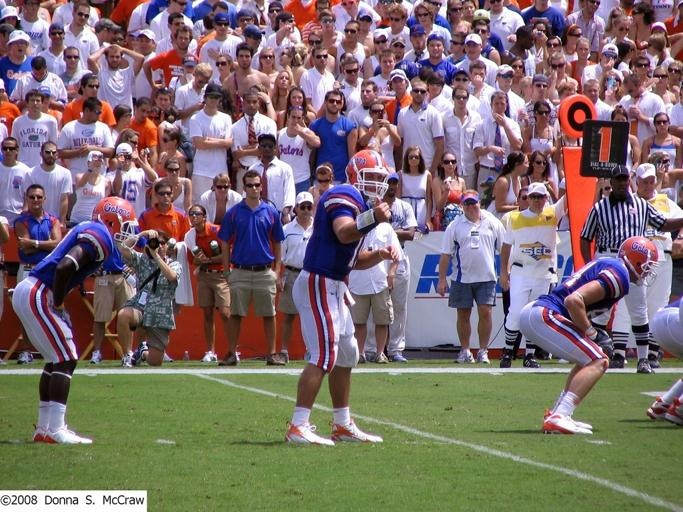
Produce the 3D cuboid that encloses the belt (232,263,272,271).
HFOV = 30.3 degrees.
[{"bbox_3d":[-1.311,0.170,18.543,0.540,0.114,0.152,2,-1,-14],"label":"belt"}]

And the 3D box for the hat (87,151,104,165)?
[{"bbox_3d":[-3.794,-1.514,19.470,0.186,0.253,0.255,0,-9,-19],"label":"hat"}]

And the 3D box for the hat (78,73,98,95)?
[{"bbox_3d":[-4.045,-2.787,20.395,0.260,0.377,0.375,-2,2,-29],"label":"hat"}]

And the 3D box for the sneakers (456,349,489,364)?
[{"bbox_3d":[1.973,1.511,18.888,0.363,0.186,0.238,2,-3,-4],"label":"sneakers"}]

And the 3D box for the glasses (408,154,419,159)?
[{"bbox_3d":[1.123,-1.531,19.591,0.145,0.061,0.047,1,-1,3],"label":"glasses"}]

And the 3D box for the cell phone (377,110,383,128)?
[{"bbox_3d":[0.621,-2.146,19.773,0.046,0.208,0.110,23,-25,-26],"label":"cell phone"}]

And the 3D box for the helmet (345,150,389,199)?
[{"bbox_3d":[0.324,-0.883,13.442,0.368,0.449,0.494,4,11,-40],"label":"helmet"}]

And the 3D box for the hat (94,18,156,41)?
[{"bbox_3d":[-3.967,-3.988,22.672,0.887,0.371,0.552,5,-8,-30],"label":"hat"}]

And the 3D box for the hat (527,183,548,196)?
[{"bbox_3d":[2.881,-0.980,18.523,0.285,0.201,0.404,1,-1,8],"label":"hat"}]

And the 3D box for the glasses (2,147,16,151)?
[{"bbox_3d":[-5.124,-1.643,19.364,0.261,0.066,0.182,1,-1,11],"label":"glasses"}]

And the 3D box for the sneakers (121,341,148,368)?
[{"bbox_3d":[-3.002,1.450,18.315,0.192,0.292,0.604,17,7,-6],"label":"sneakers"}]

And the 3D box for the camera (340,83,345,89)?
[{"bbox_3d":[0.022,-2.799,20.757,0.073,0.040,0.106,-2,0,0],"label":"camera"}]

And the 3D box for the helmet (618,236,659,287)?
[{"bbox_3d":[3.433,0.017,14.501,0.454,0.491,0.384,20,10,-11],"label":"helmet"}]

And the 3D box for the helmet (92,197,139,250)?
[{"bbox_3d":[-2.520,-0.361,14.157,0.517,0.525,0.405,4,16,-12],"label":"helmet"}]

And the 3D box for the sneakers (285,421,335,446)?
[{"bbox_3d":[-0.295,1.866,13.244,0.572,0.285,0.216,4,-3,-9],"label":"sneakers"}]

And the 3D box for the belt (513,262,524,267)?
[{"bbox_3d":[2.581,0.126,18.411,0.079,0.081,0.023,7,-13,30],"label":"belt"}]

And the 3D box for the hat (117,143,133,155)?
[{"bbox_3d":[-3.386,-1.669,19.720,0.260,0.201,0.253,2,-1,-12],"label":"hat"}]

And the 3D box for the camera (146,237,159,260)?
[{"bbox_3d":[-2.718,-0.134,18.236,0.115,0.172,0.285,-32,-3,2],"label":"camera"}]

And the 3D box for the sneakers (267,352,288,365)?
[{"bbox_3d":[-0.938,1.527,18.616,0.358,0.176,0.127,-1,3,-1],"label":"sneakers"}]

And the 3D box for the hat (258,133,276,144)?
[{"bbox_3d":[-1.150,-1.791,19.236,0.282,0.150,0.238,1,-1,11],"label":"hat"}]

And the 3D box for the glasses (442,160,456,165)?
[{"bbox_3d":[1.679,-1.456,19.614,0.177,0.075,0.080,1,-1,5],"label":"glasses"}]

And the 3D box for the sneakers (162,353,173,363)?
[{"bbox_3d":[-2.657,1.554,19.249,0.220,0.172,0.075,0,4,-35],"label":"sneakers"}]

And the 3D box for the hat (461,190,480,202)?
[{"bbox_3d":[1.913,-0.872,18.641,0.247,0.190,0.362,1,-1,5],"label":"hat"}]

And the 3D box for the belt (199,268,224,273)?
[{"bbox_3d":[-1.959,0.216,18.949,0.341,0.058,0.065,2,-1,-6],"label":"belt"}]

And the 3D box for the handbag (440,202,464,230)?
[{"bbox_3d":[1.682,-0.601,19.666,0.424,0.632,0.328,0,-3,-4],"label":"handbag"}]

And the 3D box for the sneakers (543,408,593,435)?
[{"bbox_3d":[2.429,1.782,13.567,0.408,0.187,0.246,1,3,1],"label":"sneakers"}]

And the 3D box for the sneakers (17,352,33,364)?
[{"bbox_3d":[-4.687,1.517,18.724,0.102,0.137,0.300,1,-8,0],"label":"sneakers"}]

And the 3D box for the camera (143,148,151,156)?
[{"bbox_3d":[-3.131,-1.664,20.319,0.026,0.107,0.105,4,22,43],"label":"camera"}]

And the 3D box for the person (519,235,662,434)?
[{"bbox_3d":[2.560,0.966,13.807,1.129,1.897,0.573,1,-1,9],"label":"person"}]

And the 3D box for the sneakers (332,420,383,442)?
[{"bbox_3d":[0.156,1.833,13.330,0.600,0.300,0.214,2,-2,0],"label":"sneakers"}]

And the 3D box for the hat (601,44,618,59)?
[{"bbox_3d":[4.661,-3.578,21.883,0.188,0.281,0.267,7,-18,-2],"label":"hat"}]
